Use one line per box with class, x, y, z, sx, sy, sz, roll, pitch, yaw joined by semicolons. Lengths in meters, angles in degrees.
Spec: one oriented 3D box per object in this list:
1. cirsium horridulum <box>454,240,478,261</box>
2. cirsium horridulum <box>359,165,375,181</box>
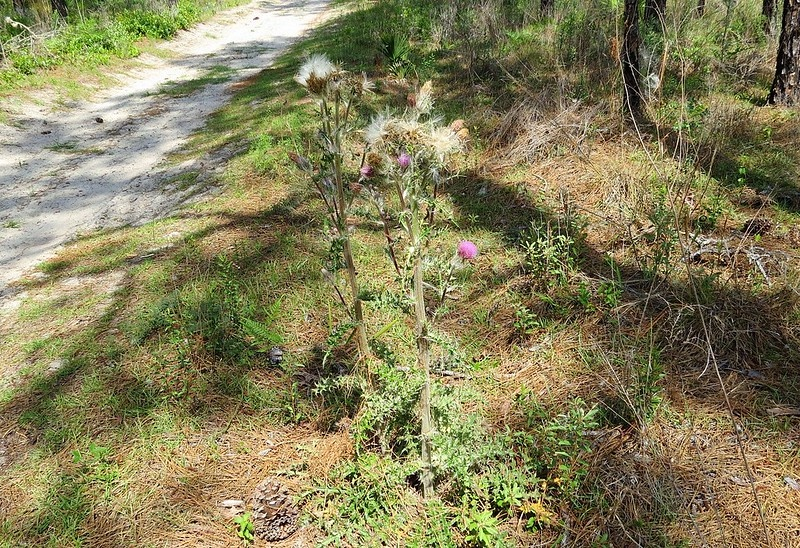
cirsium horridulum;0.495;-0.169;4.424;0.131;0.159;0.173;-18;13;-1
cirsium horridulum;-0.240;-0.751;4.462;0.096;0.075;0.124;9;40;7
